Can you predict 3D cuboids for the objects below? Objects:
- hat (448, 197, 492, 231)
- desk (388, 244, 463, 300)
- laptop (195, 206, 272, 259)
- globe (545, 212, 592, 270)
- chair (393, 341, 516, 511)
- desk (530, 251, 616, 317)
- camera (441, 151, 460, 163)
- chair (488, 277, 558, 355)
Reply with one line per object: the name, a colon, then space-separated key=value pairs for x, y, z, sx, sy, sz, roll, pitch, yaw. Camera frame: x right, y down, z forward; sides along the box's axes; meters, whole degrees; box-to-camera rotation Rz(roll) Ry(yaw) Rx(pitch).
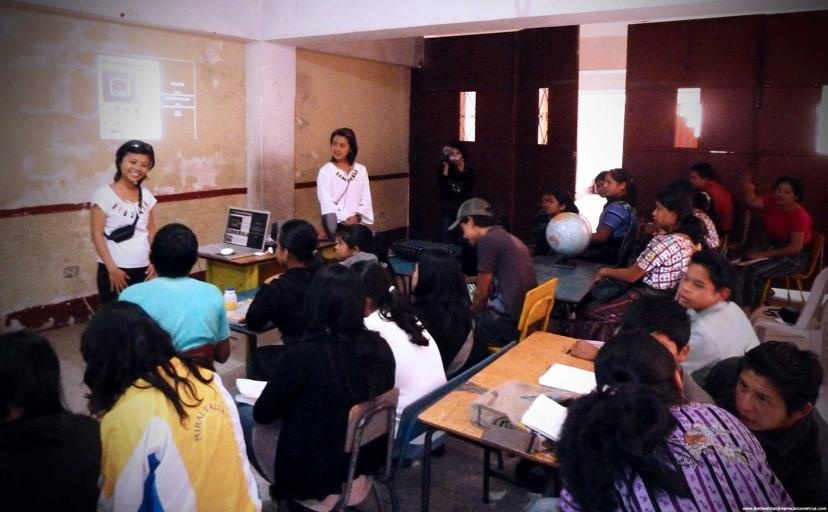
hat: x=0.503 y=-0.363 z=4.990 sx=0.387 sy=0.210 sz=0.261 roll=-3 pitch=3 yaw=9
desk: x=0.072 y=0.112 z=4.410 sx=0.466 sy=0.290 sz=0.492 roll=12 pitch=19 yaw=32
laptop: x=-1.726 y=-0.196 z=5.521 sx=0.632 sy=0.364 sz=0.541 roll=8 pitch=14 yaw=34
globe: x=1.439 y=-0.147 z=5.541 sx=0.465 sy=0.525 sz=0.441 roll=-2 pitch=30 yaw=-3
chair: x=0.230 y=1.014 z=3.435 sx=0.395 sy=0.643 sz=1.007 roll=15 pitch=22 yaw=35
desk: x=1.360 y=0.192 z=5.252 sx=0.511 sy=0.184 sz=0.795 roll=7 pitch=16 yaw=27
camera: x=0.537 y=-1.354 z=7.919 sx=0.257 sy=0.164 sz=0.190 roll=0 pitch=11 yaw=-3
chair: x=0.805 y=0.455 z=4.381 sx=0.407 sy=0.570 sz=0.392 roll=-14 pitch=25 yaw=-41
